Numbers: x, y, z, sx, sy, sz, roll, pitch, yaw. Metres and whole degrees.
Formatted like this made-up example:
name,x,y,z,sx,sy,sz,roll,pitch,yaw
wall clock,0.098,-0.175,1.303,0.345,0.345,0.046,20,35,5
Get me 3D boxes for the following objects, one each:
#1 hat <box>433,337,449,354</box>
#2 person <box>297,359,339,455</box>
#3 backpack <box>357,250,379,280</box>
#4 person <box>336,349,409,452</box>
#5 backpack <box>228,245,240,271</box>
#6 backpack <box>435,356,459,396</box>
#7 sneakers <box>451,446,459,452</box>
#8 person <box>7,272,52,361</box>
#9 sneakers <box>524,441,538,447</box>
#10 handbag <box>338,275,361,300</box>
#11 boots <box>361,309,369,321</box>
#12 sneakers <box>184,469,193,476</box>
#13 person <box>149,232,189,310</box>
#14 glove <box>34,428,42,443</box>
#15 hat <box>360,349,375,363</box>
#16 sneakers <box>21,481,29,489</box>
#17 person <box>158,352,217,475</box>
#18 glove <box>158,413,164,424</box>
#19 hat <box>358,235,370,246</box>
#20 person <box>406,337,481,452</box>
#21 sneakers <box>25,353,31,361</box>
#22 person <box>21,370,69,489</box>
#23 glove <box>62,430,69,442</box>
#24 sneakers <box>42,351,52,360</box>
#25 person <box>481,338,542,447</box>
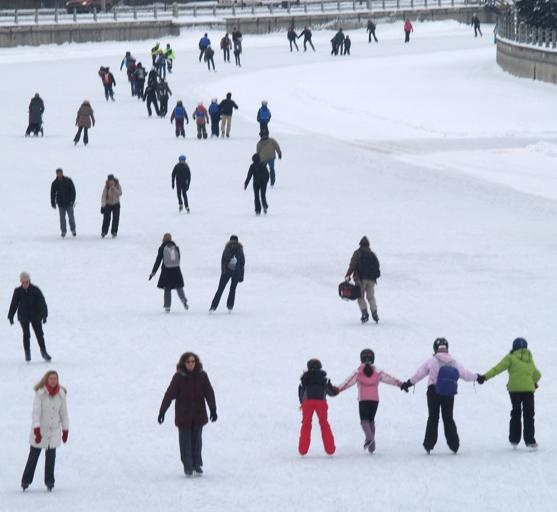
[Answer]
name,x,y,z,sx,sy,sz,roll,pitch,yaw
hat,2.322,1.283,21.353,0.149,0.278,0.231,2,14,4
person,0.569,2.123,21.251,0.565,1.389,0.547,0,11,1
backpack,1.557,0.140,26.029,0.401,0.576,0.178,0,10,2
person,1.308,2.041,21.410,0.845,1.455,0.694,2,11,10
backpack,-0.759,0.013,26.131,0.218,0.418,0.129,0,11,-6
backpack,2.377,1.688,21.173,0.383,0.741,0.333,3,-4,-18
sneakers,2.495,2.743,21.171,0.111,0.115,0.101,0,12,-2
person,-3.975,0.915,24.017,0.639,1.599,1.068,-2,12,-10
sneakers,3.597,2.693,21.239,0.160,0.084,0.114,-1,13,-4
handbag,1.243,0.564,26.040,0.339,0.472,0.276,0,2,27
boots,1.517,1.028,26.290,0.124,0.215,0.387,0,-5,3
sneakers,-1.216,2.950,20.383,0.080,0.102,0.133,6,-10,-39
person,-1.937,0.237,26.892,0.667,1.616,1.553,-1,12,-4
glove,-3.199,2.401,19.989,0.088,0.182,0.053,3,0,-6
hat,1.277,1.412,21.330,0.130,0.239,0.192,0,6,1
sneakers,-3.384,3.079,20.113,0.103,0.121,0.141,-3,13,-14
person,-1.212,2.168,20.418,0.738,1.671,0.414,-1,10,-7
glove,-1.575,2.203,20.219,0.068,0.128,0.053,5,-33,-3
hat,1.502,-0.278,25.949,0.114,0.180,0.190,1,1,-4
person,2.290,1.997,21.280,0.881,1.611,0.747,-5,12,-24
sneakers,-3.994,1.620,24.125,0.082,0.194,0.097,-1,-3,2
person,-3.131,2.347,20.098,0.644,1.561,0.436,-3,11,-15
glove,-2.838,2.458,20.187,0.052,0.202,0.115,7,1,-26
sneakers,-3.716,1.610,24.105,0.064,0.193,0.224,2,6,8
person,3.432,2.082,22.150,0.951,2.199,0.702,1,-4,6
